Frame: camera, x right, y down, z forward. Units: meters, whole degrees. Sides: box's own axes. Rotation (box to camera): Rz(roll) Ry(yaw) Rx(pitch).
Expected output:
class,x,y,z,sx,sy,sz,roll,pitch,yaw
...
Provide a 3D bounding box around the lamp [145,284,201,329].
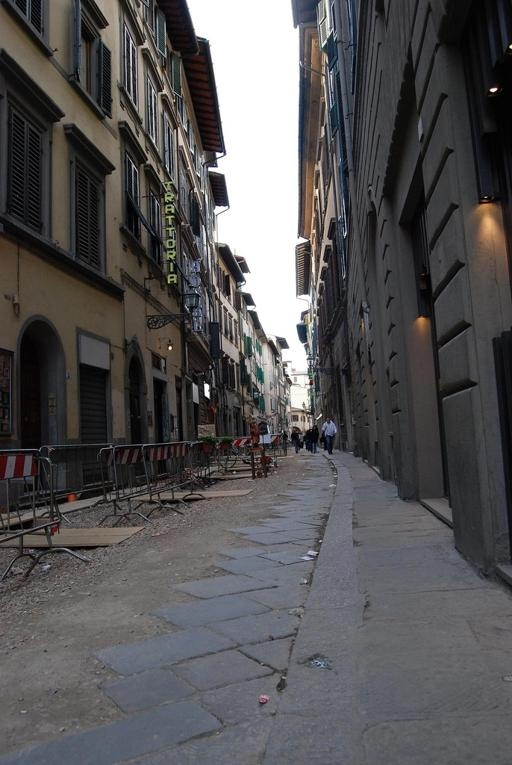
class,x,y,z,sx,sy,sz,roll,pitch,yaw
lamp,-3.196,-2.848,18.589,0.539,1.838,3.684,1,15,15
